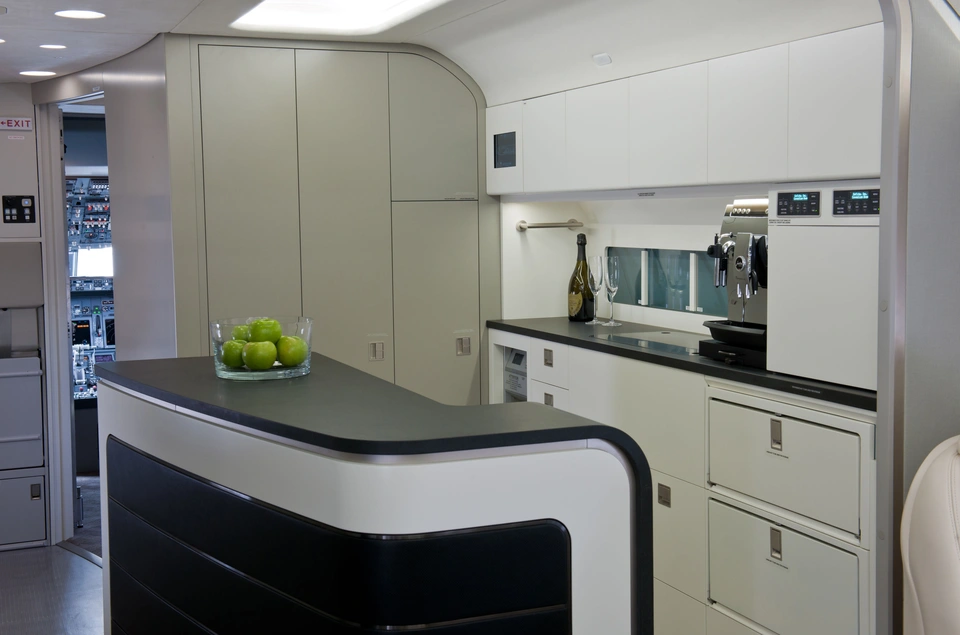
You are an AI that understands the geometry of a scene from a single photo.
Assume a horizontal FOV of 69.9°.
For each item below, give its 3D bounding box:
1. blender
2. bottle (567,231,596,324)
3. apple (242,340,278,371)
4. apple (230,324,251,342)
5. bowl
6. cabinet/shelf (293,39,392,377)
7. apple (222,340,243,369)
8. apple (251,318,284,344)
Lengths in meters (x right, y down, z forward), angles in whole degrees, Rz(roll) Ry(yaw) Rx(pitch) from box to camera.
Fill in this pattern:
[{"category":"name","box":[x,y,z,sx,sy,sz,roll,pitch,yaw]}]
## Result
[{"category":"blender","box":[1.264,-0.226,3.367,0.279,0.698,0.381,4,10,19]},{"category":"bottle","box":[0.716,-0.281,4.776,0.191,0.586,0.304,2,10,8]},{"category":"apple","box":[-0.823,0.137,2.589,0.106,0.102,0.106,5,9,17]},{"category":"apple","box":[-0.921,0.061,2.670,0.061,0.066,0.061,17,11,-5]},{"category":"bowl","box":[-0.820,0.120,2.687,0.263,0.161,0.281,-1,5,0]},{"category":"cabinet/shelf","box":[-0.894,-0.660,4.597,0.608,2.177,0.237,-2,10,-13]},{"category":"apple","box":[-0.931,0.141,2.586,0.091,0.095,0.091,-2,5,14]},{"category":"apple","box":[-0.811,0.055,2.613,0.093,0.097,0.093,9,-13,-15]}]
